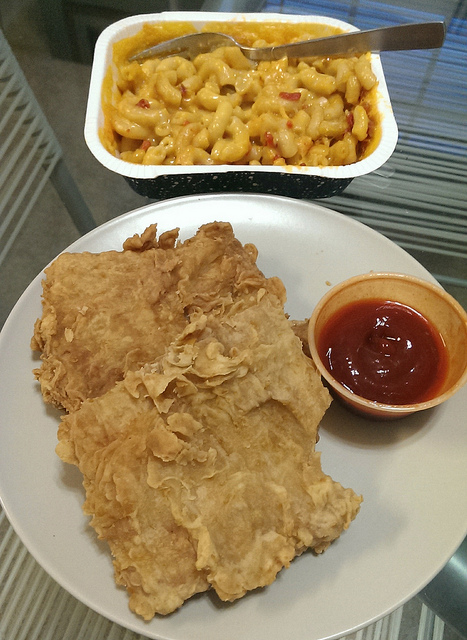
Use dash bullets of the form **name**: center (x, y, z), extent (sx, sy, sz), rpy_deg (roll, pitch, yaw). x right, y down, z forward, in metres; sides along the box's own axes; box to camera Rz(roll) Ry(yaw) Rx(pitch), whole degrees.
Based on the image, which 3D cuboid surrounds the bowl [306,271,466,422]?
- **bowl**: center (0.263, 0.044, 1.092), extent (0.284, 0.110, 0.255), rpy_deg (-4, 57, 2)

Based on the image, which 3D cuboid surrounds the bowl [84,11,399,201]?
- **bowl**: center (0.010, -0.560, 1.568), extent (0.716, 0.162, 0.648), rpy_deg (-2, 63, 1)
